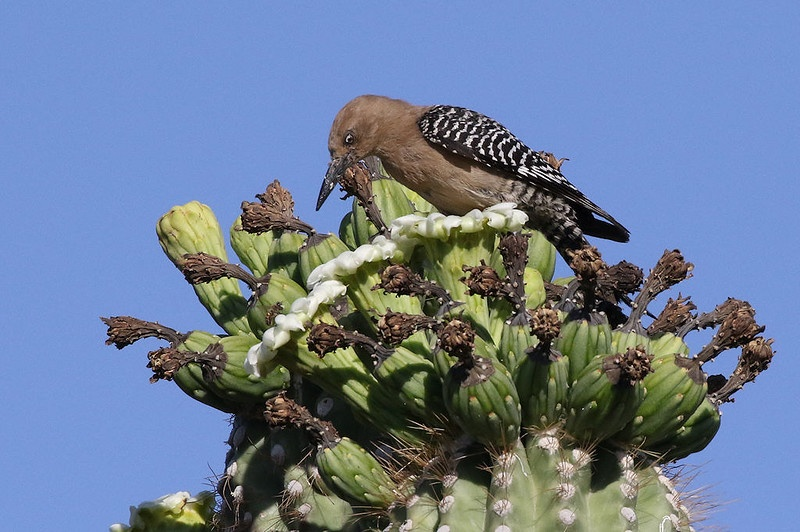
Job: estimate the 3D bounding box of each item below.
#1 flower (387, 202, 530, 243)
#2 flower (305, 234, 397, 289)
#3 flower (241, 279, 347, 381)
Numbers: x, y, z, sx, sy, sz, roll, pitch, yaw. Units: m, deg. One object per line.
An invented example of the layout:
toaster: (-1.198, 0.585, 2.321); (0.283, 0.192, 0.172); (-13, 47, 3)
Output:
flower: (0.404, -0.308, 10.703); (1.039, 1.044, 0.221); (-4, -86, -7)
flower: (-0.273, -0.060, 10.489); (0.449, 0.469, 0.127); (-23, -85, 3)
flower: (-0.713, 0.381, 10.295); (0.856, 0.280, 0.379); (-47, -25, 8)
